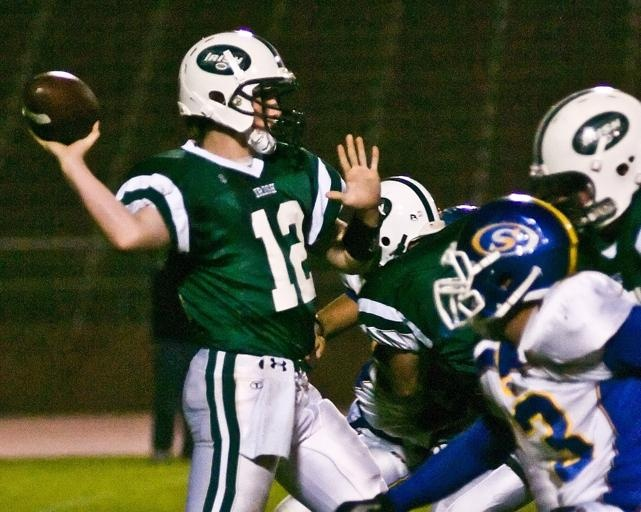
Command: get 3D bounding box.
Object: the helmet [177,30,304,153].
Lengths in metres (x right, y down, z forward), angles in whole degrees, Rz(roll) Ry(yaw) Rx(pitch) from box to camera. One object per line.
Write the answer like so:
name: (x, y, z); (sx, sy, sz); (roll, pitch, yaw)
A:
helmet: (-0.359, -0.664, 3.963); (0.473, 0.491, 0.403); (1, 9, 14)

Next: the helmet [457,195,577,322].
helmet: (0.608, -0.072, 3.459); (0.524, 0.429, 0.385); (-5, 21, -2)
